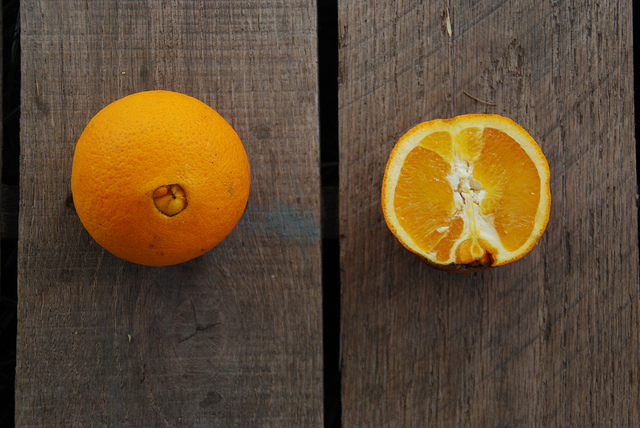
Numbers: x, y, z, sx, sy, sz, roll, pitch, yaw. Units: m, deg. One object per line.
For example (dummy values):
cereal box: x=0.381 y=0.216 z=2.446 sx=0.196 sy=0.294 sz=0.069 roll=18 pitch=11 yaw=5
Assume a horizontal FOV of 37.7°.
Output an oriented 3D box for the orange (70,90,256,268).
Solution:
orange: x=-0.321 y=-0.119 z=2.079 sx=0.428 sy=0.436 sz=0.234 roll=-3 pitch=39 yaw=6

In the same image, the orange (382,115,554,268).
orange: x=0.329 y=-0.056 z=2.088 sx=0.357 sy=0.235 sz=0.280 roll=19 pitch=49 yaw=-17
